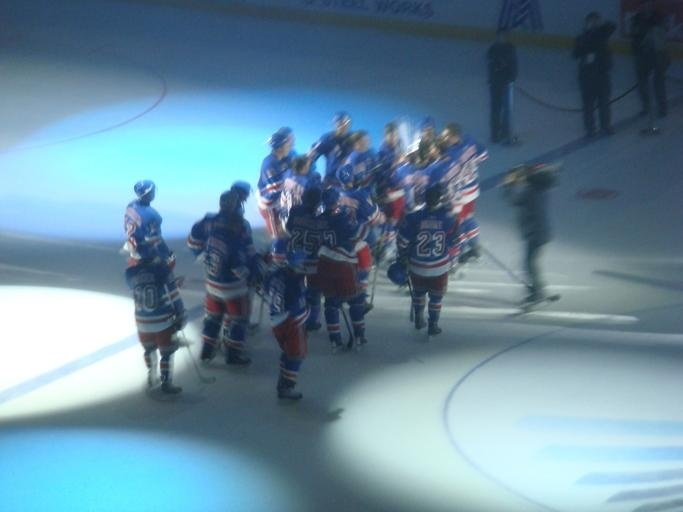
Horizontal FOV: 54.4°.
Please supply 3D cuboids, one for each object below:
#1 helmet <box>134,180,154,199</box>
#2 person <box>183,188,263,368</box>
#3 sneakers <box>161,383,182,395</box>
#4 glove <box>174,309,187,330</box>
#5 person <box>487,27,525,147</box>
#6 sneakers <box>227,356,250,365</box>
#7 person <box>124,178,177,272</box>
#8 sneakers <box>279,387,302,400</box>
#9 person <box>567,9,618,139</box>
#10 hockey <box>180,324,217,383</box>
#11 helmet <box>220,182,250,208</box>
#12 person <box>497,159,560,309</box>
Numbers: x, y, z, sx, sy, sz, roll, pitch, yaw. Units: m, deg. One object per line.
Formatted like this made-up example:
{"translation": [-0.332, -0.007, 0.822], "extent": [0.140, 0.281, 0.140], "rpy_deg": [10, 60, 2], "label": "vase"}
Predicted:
{"translation": [-1.767, -0.606, 5.968], "extent": [0.145, 0.145, 0.166], "rpy_deg": [-4, 50, -25], "label": "helmet"}
{"translation": [-1.096, 0.211, 6.369], "extent": [0.686, 1.743, 0.242], "rpy_deg": [4, 10, 24], "label": "person"}
{"translation": [-1.563, 1.201, 6.154], "extent": [0.175, 0.125, 0.075], "rpy_deg": [-10, 28, -24], "label": "sneakers"}
{"translation": [-1.451, 0.588, 6.025], "extent": [0.111, 0.130, 0.149], "rpy_deg": [0, 16, -19], "label": "glove"}
{"translation": [2.177, -2.161, 8.860], "extent": [0.414, 1.330, 0.642], "rpy_deg": [2, 10, 15], "label": "person"}
{"translation": [-1.012, 1.026, 6.584], "extent": [0.234, 0.101, 0.078], "rpy_deg": [0, 13, -10], "label": "sneakers"}
{"translation": [-1.731, -0.287, 5.969], "extent": [0.408, 0.799, 0.283], "rpy_deg": [-4, 10, -18], "label": "person"}
{"translation": [-0.459, 1.253, 6.057], "extent": [0.195, 0.120, 0.105], "rpy_deg": [0, 7, 7], "label": "sneakers"}
{"translation": [3.500, -2.508, 9.251], "extent": [0.499, 1.635, 0.710], "rpy_deg": [3, 10, 22], "label": "person"}
{"translation": [-1.402, 0.980, 6.540], "extent": [0.112, 0.122, 0.815], "rpy_deg": [-9, 41, -28], "label": "hockey"}
{"translation": [-0.973, -0.597, 6.227], "extent": [0.267, 0.123, 0.202], "rpy_deg": [-33, 38, -20], "label": "helmet"}
{"translation": [2.290, -0.243, 7.928], "extent": [0.655, 1.719, 1.254], "rpy_deg": [2, 10, 15], "label": "person"}
